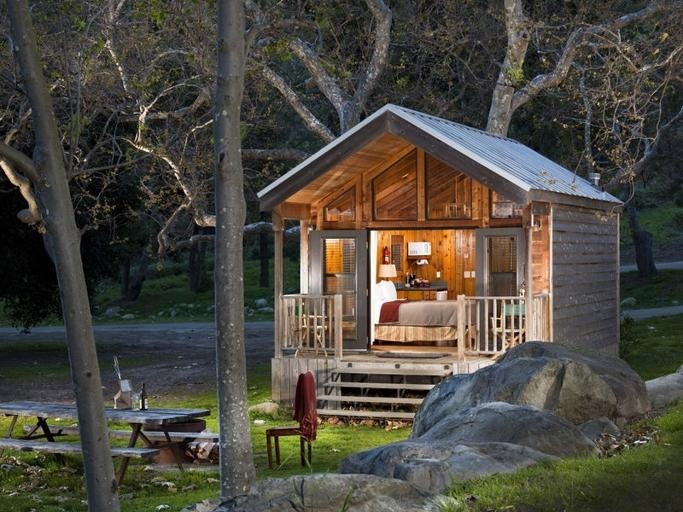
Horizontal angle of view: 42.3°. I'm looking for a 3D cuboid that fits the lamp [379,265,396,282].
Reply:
[{"bbox_3d":[1.197,0.444,22.527,0.385,0.599,0.405,-2,4,11],"label":"lamp"}]
